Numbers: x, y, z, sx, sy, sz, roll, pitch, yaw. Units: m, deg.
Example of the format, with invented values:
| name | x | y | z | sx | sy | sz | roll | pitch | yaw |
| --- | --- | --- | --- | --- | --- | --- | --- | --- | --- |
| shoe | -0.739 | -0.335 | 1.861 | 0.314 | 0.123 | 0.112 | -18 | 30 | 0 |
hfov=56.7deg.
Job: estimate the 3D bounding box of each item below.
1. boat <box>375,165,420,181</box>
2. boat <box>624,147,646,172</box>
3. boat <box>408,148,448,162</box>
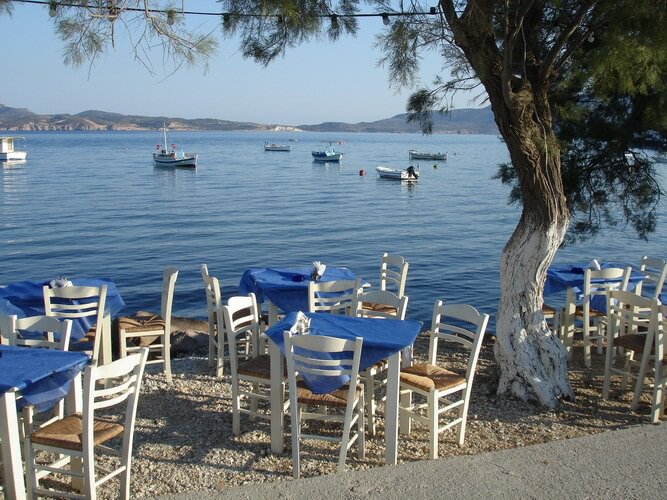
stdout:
| name | x | y | z | sx | sy | sz | roll | pitch | yaw |
| --- | --- | --- | --- | --- | --- | --- | --- | --- | --- |
| boat | 5.032 | -5.669 | 46.959 | 1.496 | 1.181 | 4.306 | -12 | 19 | -29 |
| boat | 4.459 | -1.358 | 9.211 | 0.325 | 0.238 | 0.325 | 14 | 31 | 19 |
| boat | 12.213 | -12.310 | 80.844 | 3.291 | 1.055 | 6.723 | -4 | 11 | -19 |
